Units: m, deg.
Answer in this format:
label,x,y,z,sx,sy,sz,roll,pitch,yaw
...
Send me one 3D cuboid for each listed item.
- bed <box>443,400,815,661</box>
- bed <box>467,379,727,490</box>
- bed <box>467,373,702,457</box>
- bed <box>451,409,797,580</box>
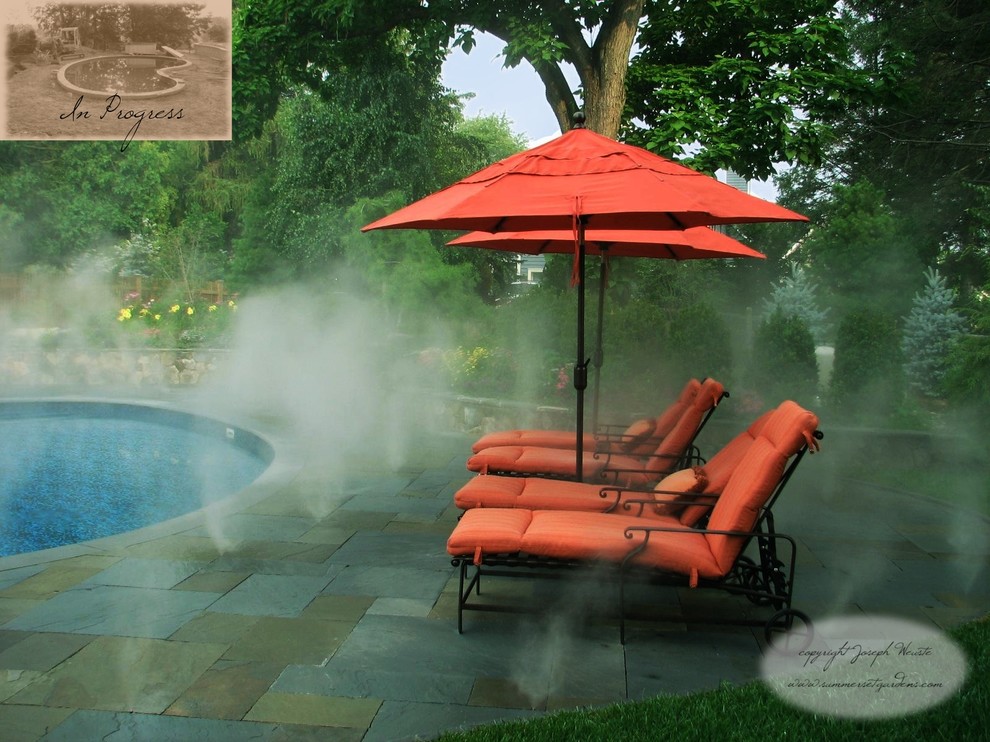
label,x,y,z,sx,sy,sz,roll,pitch,yaw
bed,1.614,1.347,9.736,3.986,1.823,2.150,1,-2,6
bed,1.115,0.756,11.218,3.045,0.875,1.561,-4,6,5
bed,0.828,0.644,11.948,3.420,0.917,1.169,3,-4,-21
bed,1.245,1.272,9.123,3.458,1.122,1.385,-4,10,7
